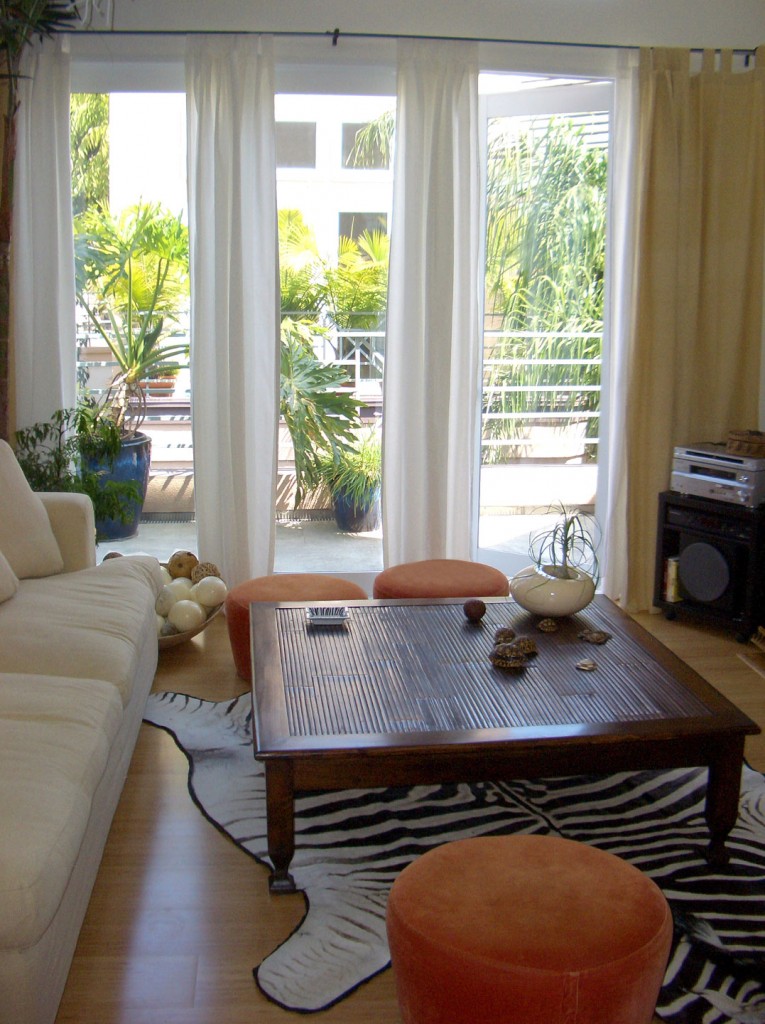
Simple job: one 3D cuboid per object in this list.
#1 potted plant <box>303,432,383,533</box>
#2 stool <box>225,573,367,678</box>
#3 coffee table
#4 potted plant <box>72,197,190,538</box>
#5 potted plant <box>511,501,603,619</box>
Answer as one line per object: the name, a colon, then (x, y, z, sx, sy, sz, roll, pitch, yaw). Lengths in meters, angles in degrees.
potted plant: (-0.166, -0.142, 4.190, 0.428, 0.446, 0.430, -2, 3, -20)
stool: (-0.364, 0.318, 2.972, 0.390, 0.275, 0.393, -2, 7, -22)
coffee table: (0.231, 0.544, 2.197, 1.124, 0.389, 0.954, -1, 8, -10)
potted plant: (-1.168, -0.700, 4.011, 0.494, 1.451, 0.175, -3, 9, -22)
potted plant: (0.536, 0.166, 2.566, 0.231, 0.320, 0.235, 11, 2, 5)
